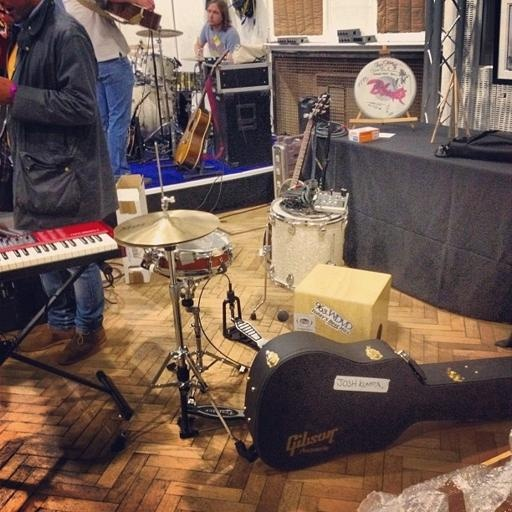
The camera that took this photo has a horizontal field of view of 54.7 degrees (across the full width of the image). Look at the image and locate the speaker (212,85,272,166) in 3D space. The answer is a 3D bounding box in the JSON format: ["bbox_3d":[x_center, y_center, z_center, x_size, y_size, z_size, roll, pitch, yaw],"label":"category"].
[{"bbox_3d":[-0.161,-1.489,5.509,0.588,0.798,0.486,-21,39,-23],"label":"speaker"}]

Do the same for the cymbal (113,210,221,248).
[{"bbox_3d":[-0.365,-0.132,2.022,0.422,0.109,0.405,-6,18,-14],"label":"cymbal"}]

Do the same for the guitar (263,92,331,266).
[{"bbox_3d":[0.364,-0.620,3.827,0.210,1.408,0.510,14,6,-13],"label":"guitar"}]

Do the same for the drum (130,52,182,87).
[{"bbox_3d":[-1.169,-2.281,6.059,0.564,0.240,0.677,18,30,30],"label":"drum"}]

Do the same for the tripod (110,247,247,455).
[{"bbox_3d":[-0.321,0.359,2.340,0.398,1.000,0.707,-7,18,-14],"label":"tripod"}]

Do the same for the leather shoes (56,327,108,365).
[{"bbox_3d":[-1.031,0.530,3.051,0.126,0.148,0.347,20,30,28],"label":"leather shoes"}]

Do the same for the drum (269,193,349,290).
[{"bbox_3d":[0.330,-0.105,3.576,0.647,0.601,0.641,6,19,16],"label":"drum"}]

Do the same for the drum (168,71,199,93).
[{"bbox_3d":[-0.830,-2.045,5.794,0.268,0.162,0.259,2,25,-1],"label":"drum"}]

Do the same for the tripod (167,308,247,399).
[{"bbox_3d":[-0.243,0.490,2.690,0.401,0.509,0.419,-3,26,2],"label":"tripod"}]

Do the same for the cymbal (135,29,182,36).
[{"bbox_3d":[-1.129,-2.572,5.698,0.430,0.085,0.428,9,26,19],"label":"cymbal"}]

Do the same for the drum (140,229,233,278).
[{"bbox_3d":[-0.350,0.002,2.735,0.306,0.101,0.297,-5,23,2],"label":"drum"}]

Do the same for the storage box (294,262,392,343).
[{"bbox_3d":[0.518,0.229,2.910,0.471,0.427,0.445,11,24,15],"label":"storage box"}]

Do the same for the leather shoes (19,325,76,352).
[{"bbox_3d":[-1.340,0.531,3.215,0.331,0.130,0.146,-7,24,-27],"label":"leather shoes"}]

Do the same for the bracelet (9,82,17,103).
[{"bbox_3d":[-1.099,-0.749,2.239,0.024,0.062,0.054,8,-2,-29],"label":"bracelet"}]
